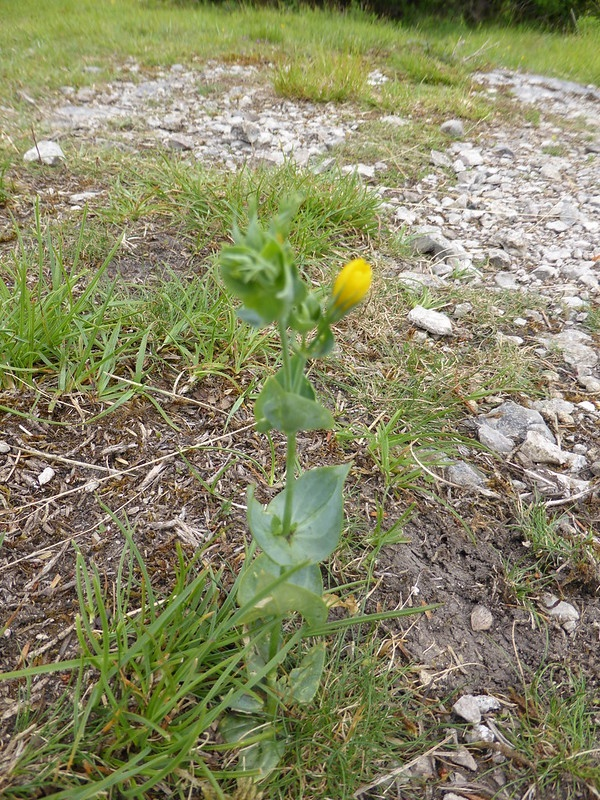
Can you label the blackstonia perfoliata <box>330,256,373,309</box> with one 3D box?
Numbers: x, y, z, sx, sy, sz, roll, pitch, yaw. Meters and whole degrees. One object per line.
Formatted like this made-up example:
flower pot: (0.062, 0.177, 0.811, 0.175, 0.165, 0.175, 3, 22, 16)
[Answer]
blackstonia perfoliata: (0.106, -0.237, 1.485, 0.069, 0.105, 0.038, 21, 15, -3)
